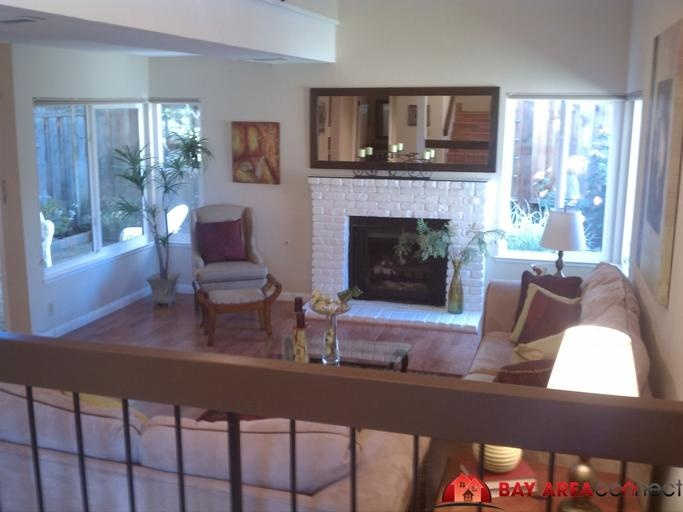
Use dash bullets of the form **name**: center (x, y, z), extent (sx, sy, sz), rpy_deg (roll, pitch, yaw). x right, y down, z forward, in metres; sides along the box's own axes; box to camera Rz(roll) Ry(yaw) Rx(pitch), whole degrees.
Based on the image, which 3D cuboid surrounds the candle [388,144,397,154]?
- **candle**: center (0.599, -1.252, 6.508), extent (0.087, 0.101, 0.089), rpy_deg (6, 15, 16)

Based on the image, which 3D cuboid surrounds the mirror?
- **mirror**: center (0.690, -1.471, 6.454), extent (2.169, 0.955, 0.165), rpy_deg (3, 14, 15)

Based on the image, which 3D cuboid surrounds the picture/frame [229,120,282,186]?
- **picture/frame**: center (-1.054, -1.318, 6.920), extent (0.761, 0.956, 0.071), rpy_deg (2, 7, 12)

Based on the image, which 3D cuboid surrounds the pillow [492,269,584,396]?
- **pillow**: center (1.191, 0.446, 3.390), extent (0.218, 0.753, 0.456), rpy_deg (29, -26, -8)

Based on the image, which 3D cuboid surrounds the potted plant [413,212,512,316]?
- **potted plant**: center (1.438, 0.096, 6.752), extent (1.088, 1.104, 1.004), rpy_deg (1, -1, -1)

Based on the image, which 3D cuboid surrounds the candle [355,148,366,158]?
- **candle**: center (0.231, -1.229, 6.598), extent (0.093, 0.109, 0.096), rpy_deg (7, 12, 27)

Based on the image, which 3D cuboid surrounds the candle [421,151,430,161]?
- **candle**: center (0.987, -1.171, 6.501), extent (0.090, 0.175, 0.092), rpy_deg (3, 6, 9)

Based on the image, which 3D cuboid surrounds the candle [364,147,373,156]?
- **candle**: center (0.312, -1.237, 6.570), extent (0.086, 0.094, 0.087), rpy_deg (1, 13, -5)

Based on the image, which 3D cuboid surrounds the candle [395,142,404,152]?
- **candle**: center (0.668, -1.267, 6.471), extent (0.101, 0.110, 0.104), rpy_deg (4, 6, 34)
